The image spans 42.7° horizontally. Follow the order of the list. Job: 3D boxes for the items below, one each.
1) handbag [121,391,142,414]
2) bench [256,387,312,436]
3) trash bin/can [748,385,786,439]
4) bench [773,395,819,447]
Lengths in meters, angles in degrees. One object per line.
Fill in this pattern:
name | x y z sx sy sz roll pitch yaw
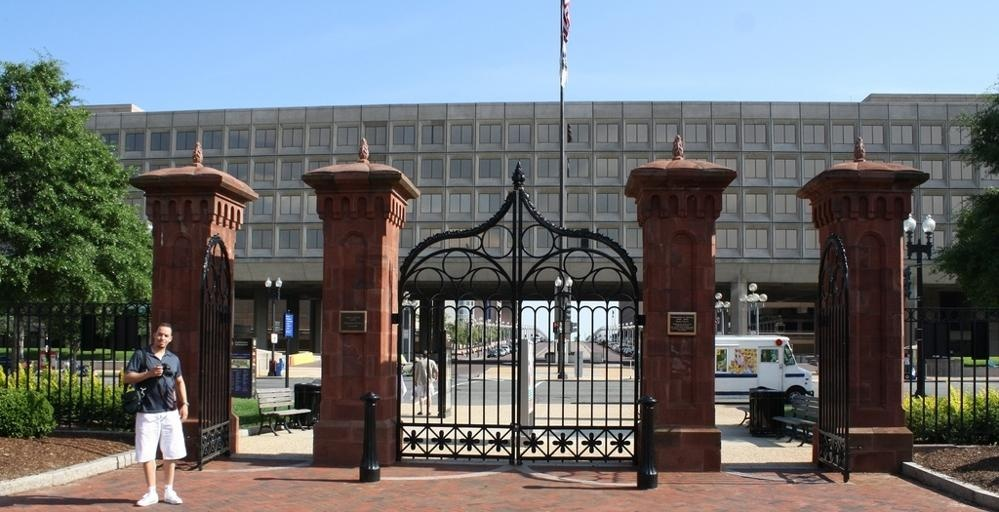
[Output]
handbag | -15.271 6.031 53.199 0.816 0.961 0.304 2 12 10
bench | -10.424 7.403 61.567 2.263 2.455 1.807 0 -1 -4
trash bin/can | 13.236 7.532 61.217 2.245 2.538 2.062 -1 -2 -1
bench | 13.993 7.820 60.037 1.231 1.543 2.606 1 -5 -5
